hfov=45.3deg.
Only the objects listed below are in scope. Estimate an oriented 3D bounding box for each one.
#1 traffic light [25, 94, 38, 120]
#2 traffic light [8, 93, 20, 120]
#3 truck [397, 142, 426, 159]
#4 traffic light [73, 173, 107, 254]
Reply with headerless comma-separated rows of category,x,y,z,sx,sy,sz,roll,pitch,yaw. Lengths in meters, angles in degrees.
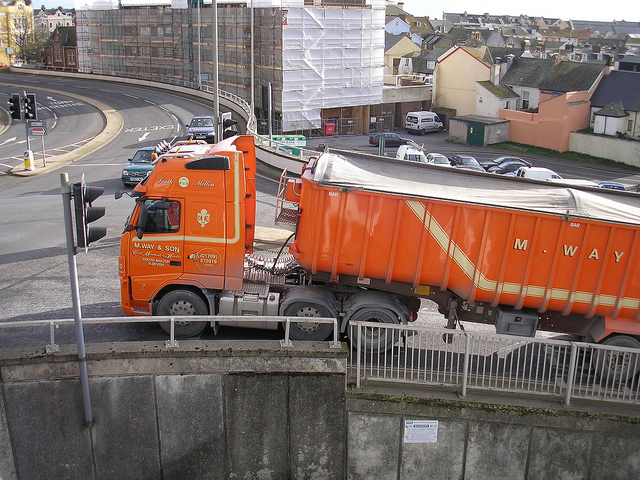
traffic light,-13.370,-6.117,35.356,0.496,1.148,1.634,-4,14,-22
traffic light,-13.446,-5.846,33.767,0.408,1.079,2.051,-4,14,-21
truck,5.416,-5.126,44.325,1.171,1.033,1.892,-1,15,-7
traffic light,-4.574,-0.446,15.319,0.559,1.451,0.648,-1,13,-9
